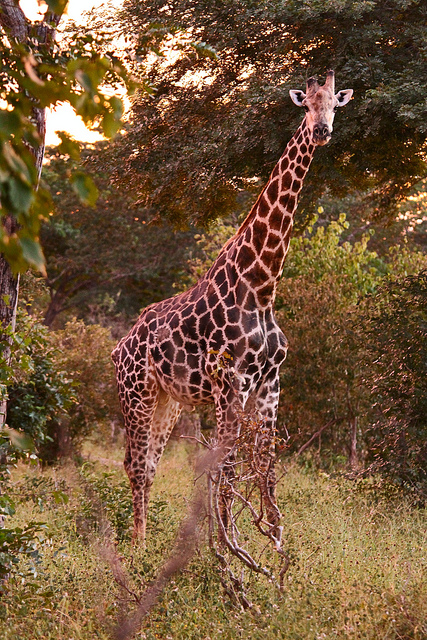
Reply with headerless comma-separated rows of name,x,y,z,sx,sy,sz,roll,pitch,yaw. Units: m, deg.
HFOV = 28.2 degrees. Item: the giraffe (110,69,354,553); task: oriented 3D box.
giraffe,0.049,-0.008,6.889,0.803,3.625,2.274,9,-2,-20
